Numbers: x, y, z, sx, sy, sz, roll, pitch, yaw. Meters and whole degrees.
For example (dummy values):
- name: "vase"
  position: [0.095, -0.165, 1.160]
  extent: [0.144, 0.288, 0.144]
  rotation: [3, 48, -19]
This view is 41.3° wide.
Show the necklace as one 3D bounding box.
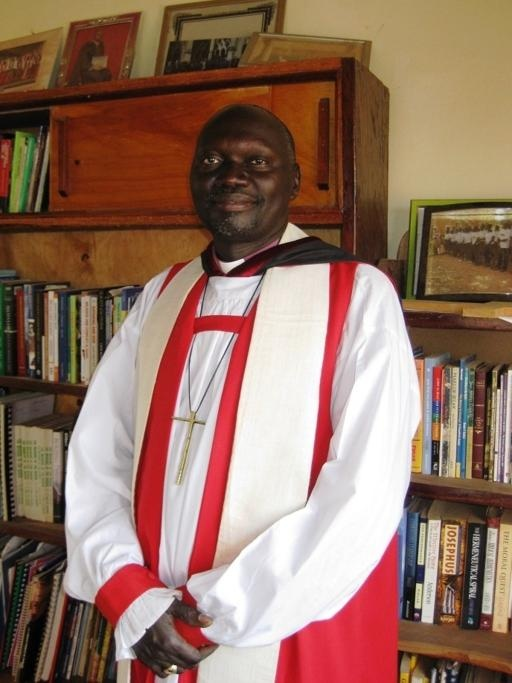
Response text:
- name: "necklace"
  position: [-0.066, 0.065, 1.314]
  extent: [0.124, 0.378, 0.038]
  rotation: [7, -17, 32]
